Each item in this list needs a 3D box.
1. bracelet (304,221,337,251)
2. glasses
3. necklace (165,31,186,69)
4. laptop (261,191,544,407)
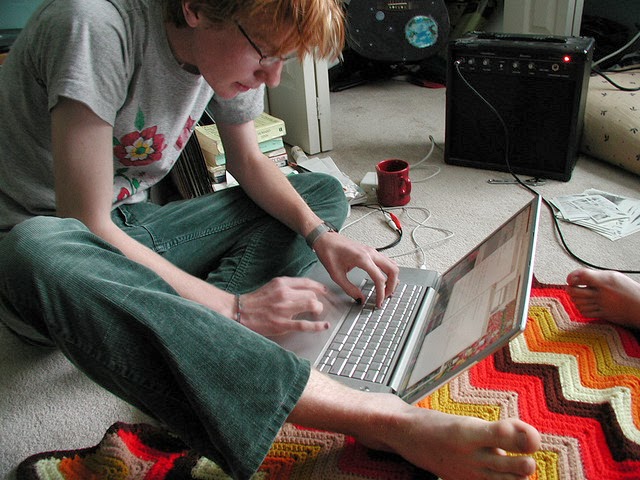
[{"bbox_3d":[-0.011,-0.018,1.304,0.085,0.082,0.054,-32,65,-34],"label":"bracelet"},{"bbox_3d":[-0.118,-0.418,0.995,0.078,0.024,0.079,-18,77,-59],"label":"glasses"},{"bbox_3d":[-0.318,-0.429,1.077,0.035,0.048,0.012,26,54,38],"label":"necklace"},{"bbox_3d":[0.133,0.147,1.057,0.477,0.290,0.482,25,37,7],"label":"laptop"}]
